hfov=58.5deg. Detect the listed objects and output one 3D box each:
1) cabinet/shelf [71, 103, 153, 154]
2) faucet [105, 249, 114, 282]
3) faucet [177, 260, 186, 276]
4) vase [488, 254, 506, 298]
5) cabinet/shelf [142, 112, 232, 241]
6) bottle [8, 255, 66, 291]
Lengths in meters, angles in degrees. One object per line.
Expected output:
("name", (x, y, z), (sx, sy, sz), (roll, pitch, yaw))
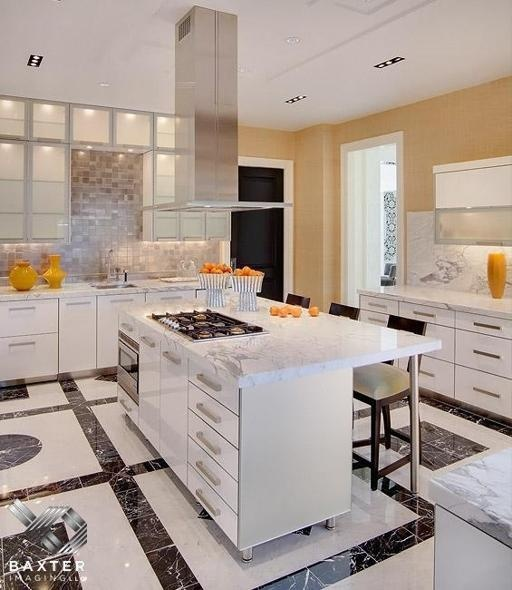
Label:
("cabinet/shelf", (-1.450, -1.734, 4.679), (0.780, 0.371, 0.246), (0, 26, -15))
("faucet", (-1.633, -0.348, 5.124), (0.098, 0.345, 0.128), (-2, 6, -20))
("faucet", (-0.887, -0.341, 5.544), (0.131, 0.204, 0.195), (-2, 6, -14))
("vase", (2.005, -0.166, 3.798), (0.139, 0.372, 0.164), (3, 7, 26))
("cabinet/shelf", (-0.706, -1.292, 5.002), (0.441, 1.335, 0.953), (-6, 18, -36))
("bottle", (-2.109, -0.216, 4.524), (0.554, 0.365, 0.329), (1, -1, -35))
